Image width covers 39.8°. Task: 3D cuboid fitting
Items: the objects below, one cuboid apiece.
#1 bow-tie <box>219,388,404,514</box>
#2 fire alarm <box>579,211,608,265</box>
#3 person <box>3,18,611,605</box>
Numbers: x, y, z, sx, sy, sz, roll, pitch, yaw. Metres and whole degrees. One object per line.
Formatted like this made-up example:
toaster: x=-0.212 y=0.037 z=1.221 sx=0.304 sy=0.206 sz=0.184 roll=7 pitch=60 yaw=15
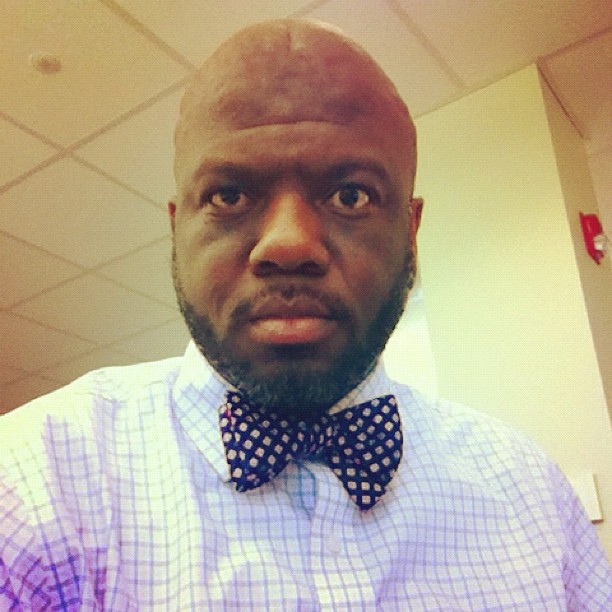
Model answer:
bow-tie: x=0.013 y=0.246 z=1.457 sx=0.312 sy=0.215 sz=0.110 roll=-1 pitch=-7 yaw=-19
fire alarm: x=0.774 y=-0.188 z=2.309 sx=0.023 sy=0.152 sz=0.088 roll=-11 pitch=-17 yaw=37
person: x=0.079 y=-0.015 z=1.674 sx=0.987 sy=0.803 sz=0.530 roll=1 pitch=-18 yaw=-4
